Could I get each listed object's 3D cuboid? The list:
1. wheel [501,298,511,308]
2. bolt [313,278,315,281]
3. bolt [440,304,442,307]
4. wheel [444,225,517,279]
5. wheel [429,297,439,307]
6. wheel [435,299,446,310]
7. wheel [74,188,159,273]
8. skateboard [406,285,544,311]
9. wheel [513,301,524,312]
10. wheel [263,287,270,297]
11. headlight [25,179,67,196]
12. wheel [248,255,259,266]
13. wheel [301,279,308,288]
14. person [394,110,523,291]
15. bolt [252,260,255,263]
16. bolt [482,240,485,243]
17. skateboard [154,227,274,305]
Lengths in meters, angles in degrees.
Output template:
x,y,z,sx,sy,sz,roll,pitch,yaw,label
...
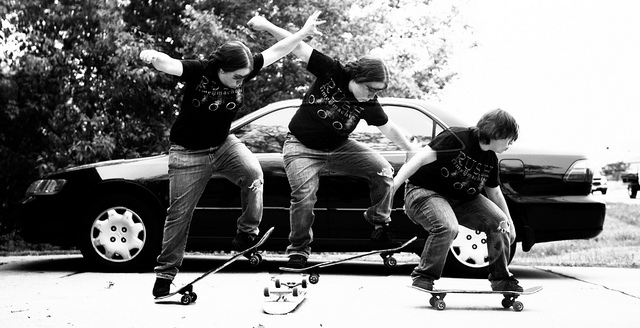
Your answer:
x,y,z,sx,sy,sz,roll,pitch,yaw,label
2.660,1.997,7.834,0.104,0.103,0.025,0,0,2,wheel
-0.086,1.681,8.016,0.038,0.038,0.009,-9,32,5,bolt
1.713,1.992,7.751,0.029,0.035,0.012,-1,7,-16,bolt
2.437,1.318,8.396,0.985,0.980,0.317,3,1,0,wheel
1.637,1.965,7.835,0.122,0.170,0.088,10,25,19,wheel
1.711,1.987,7.808,0.140,0.162,0.123,2,6,12,wheel
-3.356,1.106,9.227,1.429,1.422,0.465,-1,-1,2,wheel
2.277,1.972,8.004,1.456,0.246,0.374,0,2,3,skateboard
2.804,2.025,7.788,0.120,0.120,0.047,-18,3,-10,wheel
-0.763,1.848,7.971,0.069,0.154,0.126,1,6,3,wheel
-4.665,0.394,9.373,0.746,0.306,0.150,2,7,14,headlight
-0.993,1.485,8.244,0.207,0.151,0.290,-4,-1,-9,wheel
-0.225,1.765,8.123,0.105,0.141,0.128,0,5,-2,wheel
2.002,0.497,7.798,1.602,2.538,0.460,0,6,-1,person
-0.979,1.427,8.091,0.036,0.008,0.033,24,-38,-25,bolt
2.673,1.261,8.962,0.032,0.042,0.007,0,6,-4,bolt
-1.655,1.597,8.577,1.546,0.259,0.369,-31,-10,-4,skateboard
